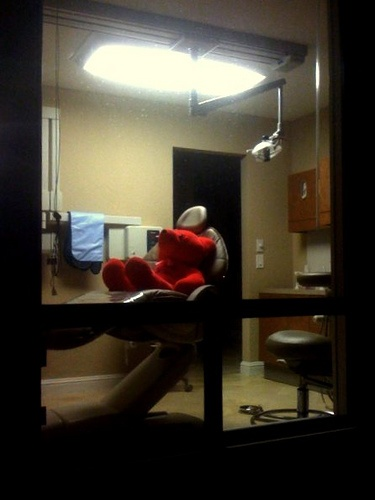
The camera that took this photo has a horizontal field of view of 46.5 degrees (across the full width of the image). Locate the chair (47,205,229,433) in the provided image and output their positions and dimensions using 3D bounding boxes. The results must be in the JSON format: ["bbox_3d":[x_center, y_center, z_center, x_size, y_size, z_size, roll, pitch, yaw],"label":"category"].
[{"bbox_3d":[-0.088,0.107,0.790,0.299,0.399,0.233,9,-3,-43],"label":"chair"}]

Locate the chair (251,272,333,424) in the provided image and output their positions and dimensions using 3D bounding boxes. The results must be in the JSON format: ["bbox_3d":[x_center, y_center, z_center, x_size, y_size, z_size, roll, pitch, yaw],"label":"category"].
[{"bbox_3d":[0.257,0.213,0.941,0.156,0.344,0.170,7,-3,-2],"label":"chair"}]
